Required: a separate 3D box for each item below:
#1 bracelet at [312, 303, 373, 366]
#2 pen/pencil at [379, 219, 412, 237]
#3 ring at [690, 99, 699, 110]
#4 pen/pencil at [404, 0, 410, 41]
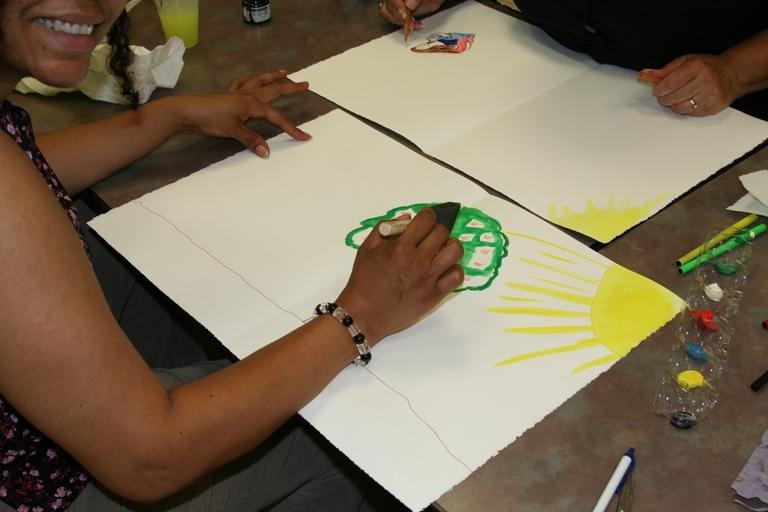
[{"bbox_3d":[-0.074,0.134,0.963,0.032,0.078,0.105,-31,39,1],"label":"bracelet"},{"bbox_3d":[0.020,-0.049,1.002,0.022,0.081,0.022,-15,88,30],"label":"pen/pencil"},{"bbox_3d":[0.720,-0.347,1.326,0.016,0.007,0.022,-16,87,3],"label":"ring"},{"bbox_3d":[0.063,-0.636,1.565,0.016,0.013,0.109,1,88,-2],"label":"pen/pencil"}]
